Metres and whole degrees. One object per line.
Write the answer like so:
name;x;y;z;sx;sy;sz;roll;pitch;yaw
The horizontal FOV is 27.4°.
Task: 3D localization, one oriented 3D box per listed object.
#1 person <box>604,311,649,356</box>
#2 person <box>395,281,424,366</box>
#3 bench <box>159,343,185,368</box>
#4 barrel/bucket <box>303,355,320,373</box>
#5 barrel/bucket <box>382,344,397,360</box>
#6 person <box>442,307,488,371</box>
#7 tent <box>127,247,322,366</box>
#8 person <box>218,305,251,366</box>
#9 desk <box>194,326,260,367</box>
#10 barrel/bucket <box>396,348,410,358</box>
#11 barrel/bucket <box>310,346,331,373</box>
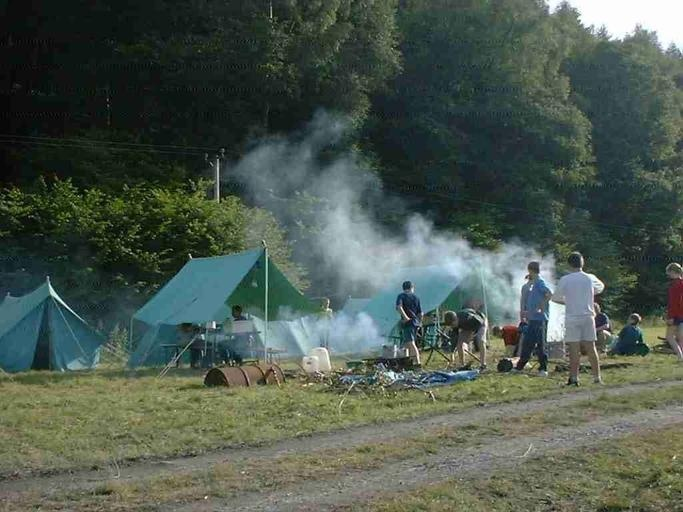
person;9.016;2.534;43.912;1.165;1.350;0.580;-1;-9;13
person;2.080;2.068;42.950;0.699;2.694;1.002;-1;-9;11
bench;-5.467;3.268;44.977;0.683;0.724;0.722;-1;-1;6
barrel/bucket;-0.948;3.382;42.987;0.570;0.859;0.422;1;-7;7
barrel/bucket;1.474;2.960;42.606;0.467;0.467;0.537;1;-10;2
person;3.790;2.592;42.594;1.194;1.844;0.603;1;-9;2
tent;-3.882;1.358;44.750;4.432;3.388;4.372;-3;2;-41
person;-3.398;2.574;44.923;0.911;1.834;0.625;-7;-16;28
desk;-3.735;2.998;44.921;1.631;1.465;1.594;2;3;34
barrel/bucket;1.877;3.010;42.633;0.406;0.322;0.233;2;-12;-8
barrel/bucket;-0.666;3.292;43.406;0.563;0.609;0.229;1;-16;-9
